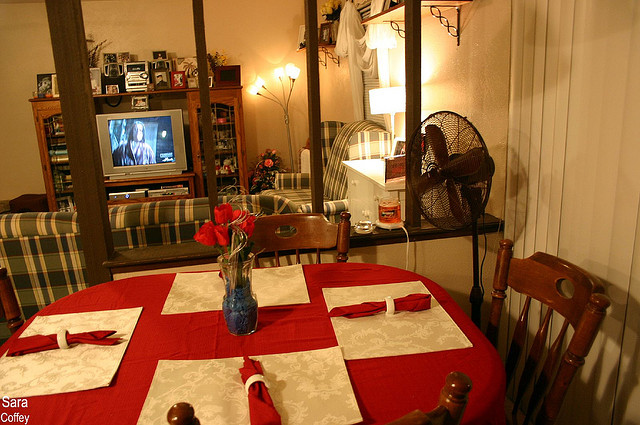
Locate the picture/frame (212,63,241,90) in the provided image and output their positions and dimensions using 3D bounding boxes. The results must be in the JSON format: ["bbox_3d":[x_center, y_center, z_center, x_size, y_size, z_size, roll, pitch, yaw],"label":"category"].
[{"bbox_3d":[-1.242,-1.806,6.098,0.505,0.353,0.273,-2,14,-11],"label":"picture/frame"}]

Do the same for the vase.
[{"bbox_3d":[-0.308,0.318,1.765,0.133,0.302,0.131,-4,10,-4],"label":"vase"}]

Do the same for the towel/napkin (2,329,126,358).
[{"bbox_3d":[-0.941,0.473,1.712,0.403,0.075,0.144,0,11,-8],"label":"towel/napkin"}]

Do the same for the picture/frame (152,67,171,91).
[{"bbox_3d":[-2.156,-1.818,6.247,0.335,0.436,0.045,-3,-3,-10],"label":"picture/frame"}]

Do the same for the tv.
[{"bbox_3d":[-2.379,-0.891,6.095,1.168,0.971,0.638,-3,15,-7],"label":"tv"}]

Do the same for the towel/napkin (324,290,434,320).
[{"bbox_3d":[0.241,0.377,1.825,0.490,0.086,0.139,-4,27,-3],"label":"towel/napkin"}]

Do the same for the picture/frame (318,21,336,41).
[{"bbox_3d":[0.094,-2.122,5.396,0.070,0.271,0.266,-6,13,-41],"label":"picture/frame"}]

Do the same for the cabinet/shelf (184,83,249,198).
[{"bbox_3d":[-1.418,-0.968,6.394,0.801,1.466,0.418,-7,14,-8],"label":"cabinet/shelf"}]

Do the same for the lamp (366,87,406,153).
[{"bbox_3d":[0.597,-0.758,3.771,0.254,0.518,0.331,-14,16,-33],"label":"lamp"}]

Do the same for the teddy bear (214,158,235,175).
[{"bbox_3d":[-1.327,-0.662,6.476,0.303,0.305,0.183,-7,20,-17],"label":"teddy bear"}]

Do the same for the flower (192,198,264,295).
[{"bbox_3d":[-0.369,0.124,1.725,0.221,0.282,0.285,0,-4,0],"label":"flower"}]

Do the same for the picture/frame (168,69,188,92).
[{"bbox_3d":[-1.908,-1.782,6.196,0.221,0.256,0.209,-9,14,-16],"label":"picture/frame"}]
